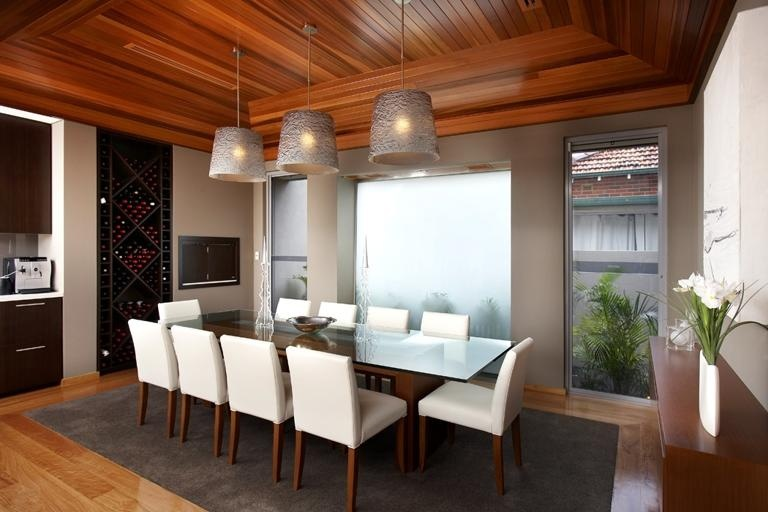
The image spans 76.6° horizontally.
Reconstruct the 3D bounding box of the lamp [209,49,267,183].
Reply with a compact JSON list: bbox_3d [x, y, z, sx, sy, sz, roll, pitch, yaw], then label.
[{"bbox_3d":[-1.791,-1.622,5.646,0.553,1.517,1.574,-5,13,-19],"label":"lamp"}]

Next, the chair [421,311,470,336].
[{"bbox_3d":[0.606,0.613,5.098,0.417,0.284,0.243,3,2,29],"label":"chair"}]

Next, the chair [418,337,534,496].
[{"bbox_3d":[1.075,1.370,5.046,1.264,1.845,1.161,2,0,29],"label":"chair"}]

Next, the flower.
[{"bbox_3d":[2.436,0.377,3.635,0.854,0.633,0.712,4,-2,-38],"label":"flower"}]
